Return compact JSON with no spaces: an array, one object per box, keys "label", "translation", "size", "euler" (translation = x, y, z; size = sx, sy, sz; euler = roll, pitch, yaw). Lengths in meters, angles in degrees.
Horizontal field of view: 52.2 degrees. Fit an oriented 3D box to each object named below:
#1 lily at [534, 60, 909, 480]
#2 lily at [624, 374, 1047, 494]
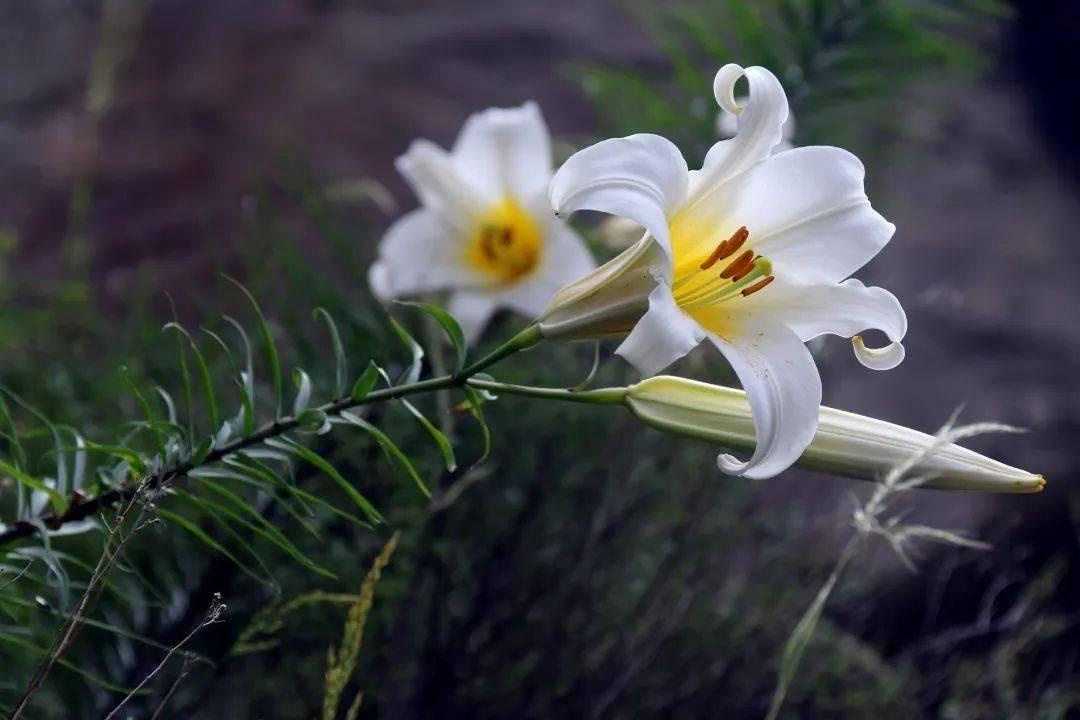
[{"label":"lily","translation":[0.216,-0.155,1.361],"size":[0.534,0.235,0.481],"euler":[9,-31,49]},{"label":"lily","translation":[0.345,0.065,1.340],"size":[0.482,0.191,0.075],"euler":[10,37,-3]}]
